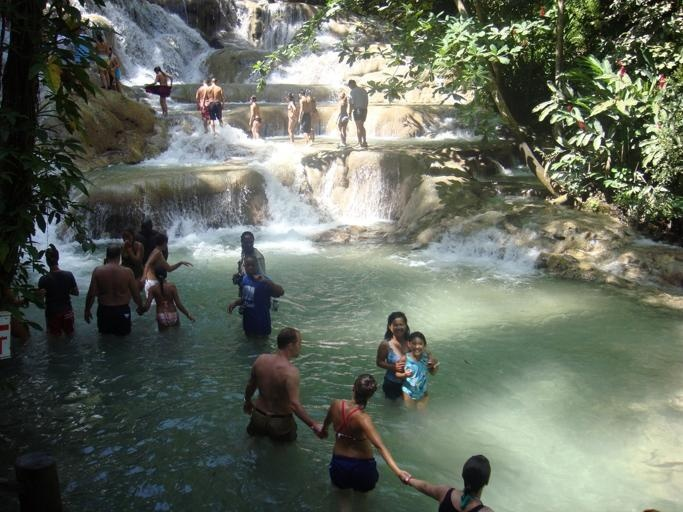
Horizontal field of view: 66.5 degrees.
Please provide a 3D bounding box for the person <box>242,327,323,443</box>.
[{"bbox_3d":[-0.695,1.516,6.012,1.069,1.424,0.354,5,9,31],"label":"person"}]

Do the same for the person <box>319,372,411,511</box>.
[{"bbox_3d":[0.213,1.874,5.340,0.885,1.359,0.361,7,10,43],"label":"person"}]

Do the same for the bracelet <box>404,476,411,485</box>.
[{"bbox_3d":[0.639,2.138,4.981,0.017,0.068,0.074,-2,-15,31],"label":"bracelet"}]
